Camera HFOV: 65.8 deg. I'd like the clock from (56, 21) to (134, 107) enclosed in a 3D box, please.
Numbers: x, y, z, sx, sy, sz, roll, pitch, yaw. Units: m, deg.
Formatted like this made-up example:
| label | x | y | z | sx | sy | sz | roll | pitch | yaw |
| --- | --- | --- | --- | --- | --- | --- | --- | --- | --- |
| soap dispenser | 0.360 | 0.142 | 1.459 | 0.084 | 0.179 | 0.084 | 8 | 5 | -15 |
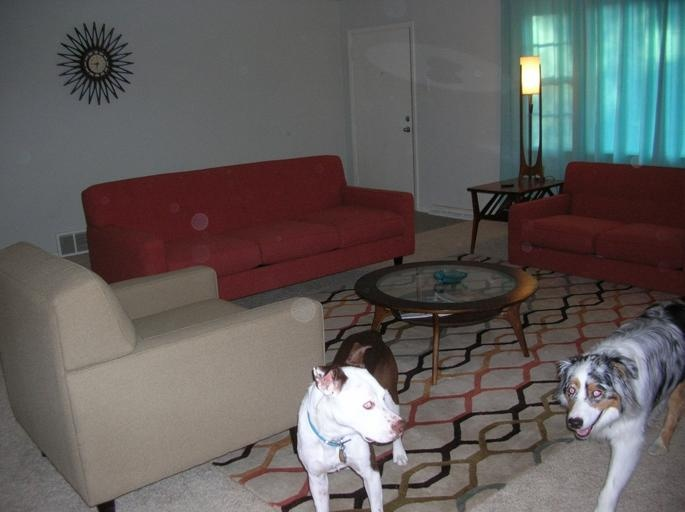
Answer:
| label | x | y | z | sx | sy | sz | roll | pitch | yaw |
| --- | --- | --- | --- | --- | --- | --- | --- | --- | --- |
| clock | -2.841 | -2.193 | 5.979 | 0.095 | 0.918 | 0.905 | 8 | 18 | 42 |
